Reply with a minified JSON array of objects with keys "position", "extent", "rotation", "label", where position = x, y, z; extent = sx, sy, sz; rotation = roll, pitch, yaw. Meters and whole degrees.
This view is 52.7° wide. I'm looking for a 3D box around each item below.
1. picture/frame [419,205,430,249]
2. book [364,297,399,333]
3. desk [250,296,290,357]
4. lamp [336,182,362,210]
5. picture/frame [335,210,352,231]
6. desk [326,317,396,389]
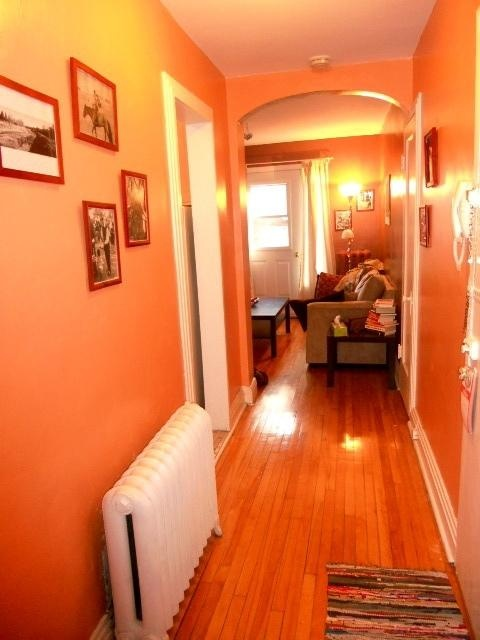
[{"position":[1.129,-0.571,2.941],"extent":[0.028,0.251,0.295],"rotation":[0,2,17],"label":"picture/frame"},{"position":[1.350,-0.159,4.542],"extent":[0.221,0.317,0.409],"rotation":[4,28,20],"label":"book"},{"position":[0.416,0.061,6.318],"extent":[0.472,0.596,1.348],"rotation":[-1,9,6],"label":"desk"},{"position":[1.784,-2.013,7.821],"extent":[0.328,0.455,0.371],"rotation":[1,14,2],"label":"lamp"},{"position":[1.722,-1.661,7.967],"extent":[0.324,0.481,0.034],"rotation":[1,7,14],"label":"picture/frame"},{"position":[1.206,0.333,4.763],"extent":[0.648,0.539,0.521],"rotation":[0,9,13],"label":"desk"}]
